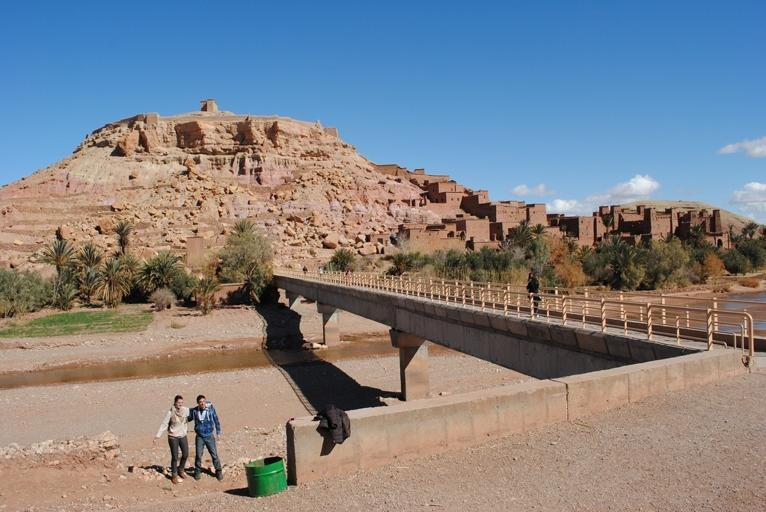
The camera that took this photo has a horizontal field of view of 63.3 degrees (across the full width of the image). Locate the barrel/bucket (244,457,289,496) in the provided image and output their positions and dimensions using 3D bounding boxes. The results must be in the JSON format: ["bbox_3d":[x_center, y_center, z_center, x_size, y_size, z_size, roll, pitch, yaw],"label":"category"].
[{"bbox_3d":[-2.467,4.637,13.084,0.839,0.578,0.788,-9,-4,-1],"label":"barrel/bucket"}]
